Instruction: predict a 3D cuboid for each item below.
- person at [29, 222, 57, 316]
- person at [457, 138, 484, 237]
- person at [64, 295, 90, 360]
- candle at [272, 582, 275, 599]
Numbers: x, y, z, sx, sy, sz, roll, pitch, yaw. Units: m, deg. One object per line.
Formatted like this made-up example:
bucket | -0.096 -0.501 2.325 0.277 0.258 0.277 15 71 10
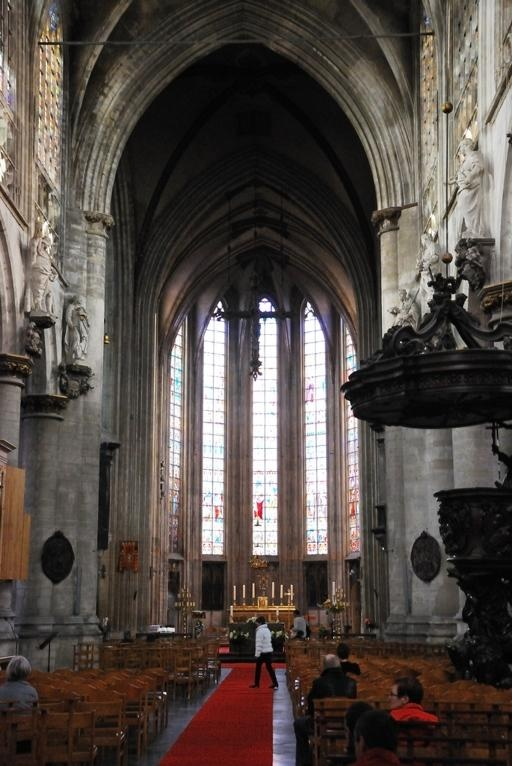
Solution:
person | -3.891 -2.070 16.920 0.404 2.220 1.040 -7 -32 -2
person | 3.029 -2.609 13.016 0.379 1.355 0.388 -3 -12 6
person | -3.912 -1.143 20.093 0.469 1.584 0.519 0 -12 -9
candle | 0.744 8.769 39.844 0.126 0.656 0.262 -5 -12 12
